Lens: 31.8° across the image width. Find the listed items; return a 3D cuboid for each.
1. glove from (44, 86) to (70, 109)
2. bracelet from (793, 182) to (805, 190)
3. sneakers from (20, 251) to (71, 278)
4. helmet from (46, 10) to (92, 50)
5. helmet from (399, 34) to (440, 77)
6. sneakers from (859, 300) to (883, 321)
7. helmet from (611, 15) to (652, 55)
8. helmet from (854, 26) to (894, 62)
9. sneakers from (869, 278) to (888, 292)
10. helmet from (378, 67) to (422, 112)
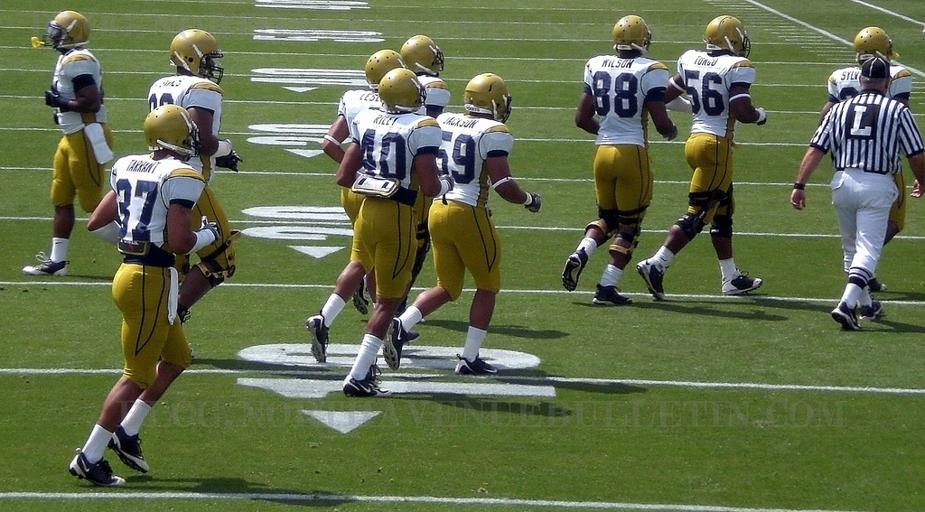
[{"bbox_3d":[-5.073,-1.952,20.087,0.245,0.241,0.411,-6,13,-32],"label":"glove"},{"bbox_3d":[4.096,-0.857,19.634,0.125,0.058,0.132,0,1,5],"label":"bracelet"},{"bbox_3d":[-5.362,0.133,20.362,0.787,0.233,0.215,4,7,-2],"label":"sneakers"},{"bbox_3d":[-4.964,-2.864,20.383,0.667,0.337,0.407,-4,11,-11],"label":"helmet"},{"bbox_3d":[-0.522,-2.408,19.340,0.665,0.402,0.432,-13,37,-21],"label":"helmet"},{"bbox_3d":[4.979,0.689,19.643,0.158,0.135,0.410,10,16,39],"label":"sneakers"},{"bbox_3d":[2.097,-2.800,20.337,0.516,0.371,0.604,6,10,30],"label":"helmet"},{"bbox_3d":[5.165,-2.728,20.673,0.535,0.374,0.616,-4,1,28],"label":"helmet"},{"bbox_3d":[5.240,0.381,20.417,0.289,0.094,0.174,9,9,30],"label":"sneakers"},{"bbox_3d":[-0.665,-1.829,17.758,0.500,0.466,0.215,2,14,-1],"label":"helmet"}]
